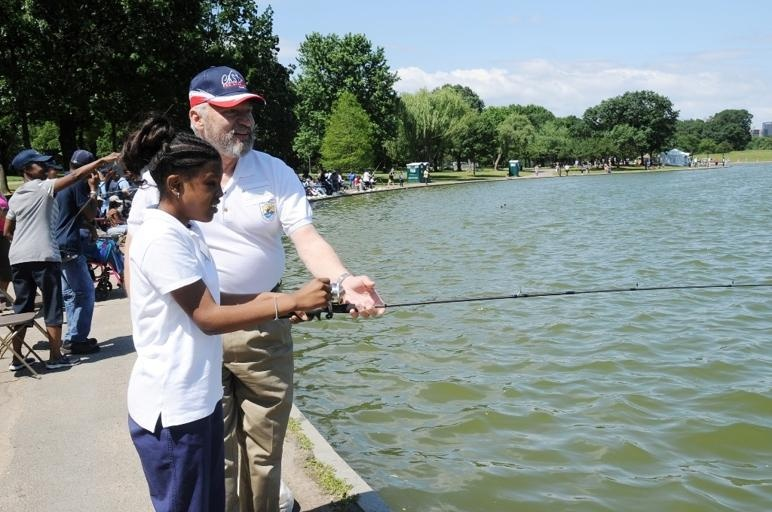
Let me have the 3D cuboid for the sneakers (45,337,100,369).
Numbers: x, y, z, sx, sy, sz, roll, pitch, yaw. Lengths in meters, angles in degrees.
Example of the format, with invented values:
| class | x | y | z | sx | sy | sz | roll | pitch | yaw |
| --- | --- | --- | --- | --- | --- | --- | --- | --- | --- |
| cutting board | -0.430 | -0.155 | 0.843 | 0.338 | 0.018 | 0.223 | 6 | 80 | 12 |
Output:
| class | x | y | z | sx | sy | sz | roll | pitch | yaw |
| --- | --- | --- | --- | --- | --- | --- | --- | --- | --- |
| sneakers | -4.421 | 1.348 | 9.521 | 0.717 | 0.238 | 0.232 | -9 | 8 | -23 |
